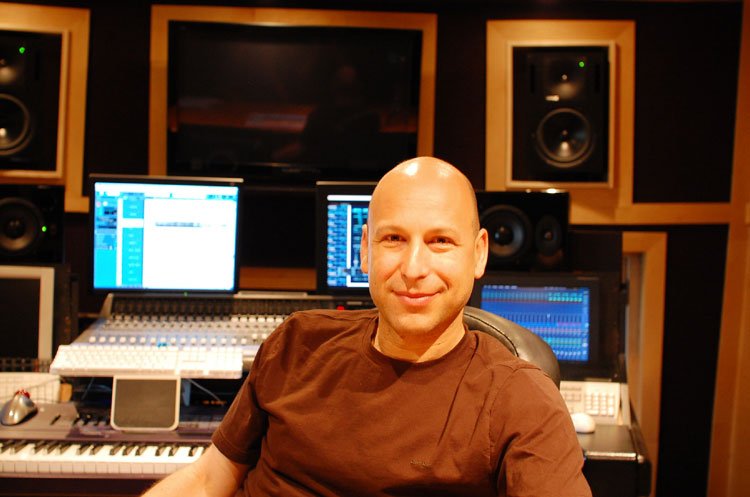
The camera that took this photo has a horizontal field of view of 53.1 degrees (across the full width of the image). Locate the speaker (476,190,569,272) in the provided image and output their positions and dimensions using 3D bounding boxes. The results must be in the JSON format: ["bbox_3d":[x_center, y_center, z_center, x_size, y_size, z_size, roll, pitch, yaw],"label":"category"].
[{"bbox_3d":[0.892,-0.093,4.481,0.551,0.469,0.310,-1,0,29],"label":"speaker"}]

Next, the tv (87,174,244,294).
[{"bbox_3d":[-1.194,-0.074,4.319,0.842,0.647,0.023,1,-2,-1],"label":"tv"}]
